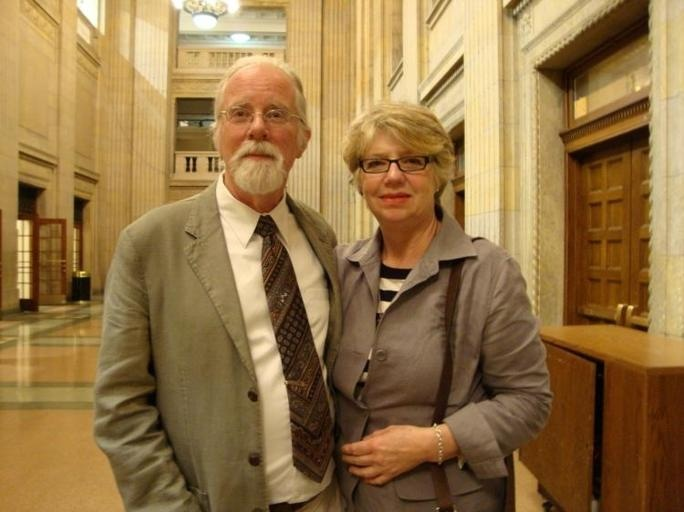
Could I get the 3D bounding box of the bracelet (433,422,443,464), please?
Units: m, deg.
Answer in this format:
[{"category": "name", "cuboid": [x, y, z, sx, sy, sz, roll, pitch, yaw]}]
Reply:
[{"category": "bracelet", "cuboid": [0.449, 0.868, 2.698, 0.043, 0.139, 0.101, -4, 0, 4]}]
